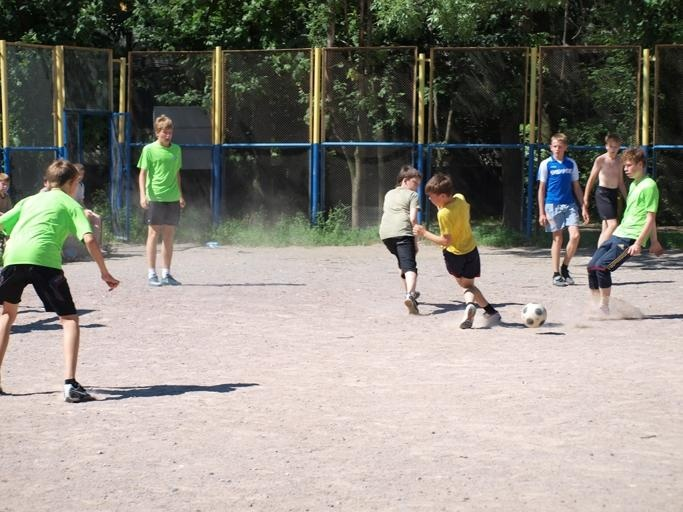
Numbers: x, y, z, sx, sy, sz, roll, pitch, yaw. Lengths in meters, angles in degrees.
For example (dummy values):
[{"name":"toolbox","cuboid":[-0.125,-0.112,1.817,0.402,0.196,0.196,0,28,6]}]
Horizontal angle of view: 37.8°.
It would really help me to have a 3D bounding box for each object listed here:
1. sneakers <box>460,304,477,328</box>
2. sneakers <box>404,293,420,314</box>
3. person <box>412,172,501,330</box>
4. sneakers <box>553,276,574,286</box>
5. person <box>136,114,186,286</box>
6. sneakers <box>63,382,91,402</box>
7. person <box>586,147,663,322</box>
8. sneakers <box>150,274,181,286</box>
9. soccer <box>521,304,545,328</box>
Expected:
[{"name":"sneakers","cuboid":[1.360,0.634,10.759,0.143,0.300,0.150,15,12,-2]},{"name":"sneakers","cuboid":[0.770,0.565,11.408,0.122,0.121,0.312,4,-21,21]},{"name":"person","cuboid":[1.286,-0.082,11.039,0.939,1.636,1.022,1,12,5]},{"name":"sneakers","cuboid":[2.985,0.320,13.419,0.291,0.132,0.210,-1,11,-5]},{"name":"person","cuboid":[-2.411,-0.708,13.303,0.562,2.216,0.772,-2,12,-7]},{"name":"sneakers","cuboid":[-2.250,1.142,8.513,0.232,0.167,0.128,-3,12,-13]},{"name":"person","cuboid":[3.203,-0.265,11.248,0.814,1.878,0.570,6,14,26]},{"name":"sneakers","cuboid":[-2.358,0.323,13.268,0.463,0.144,0.142,1,5,-6]},{"name":"soccer","cuboid":[2.070,0.645,10.800,0.256,0.263,0.251,1,12,8]}]
